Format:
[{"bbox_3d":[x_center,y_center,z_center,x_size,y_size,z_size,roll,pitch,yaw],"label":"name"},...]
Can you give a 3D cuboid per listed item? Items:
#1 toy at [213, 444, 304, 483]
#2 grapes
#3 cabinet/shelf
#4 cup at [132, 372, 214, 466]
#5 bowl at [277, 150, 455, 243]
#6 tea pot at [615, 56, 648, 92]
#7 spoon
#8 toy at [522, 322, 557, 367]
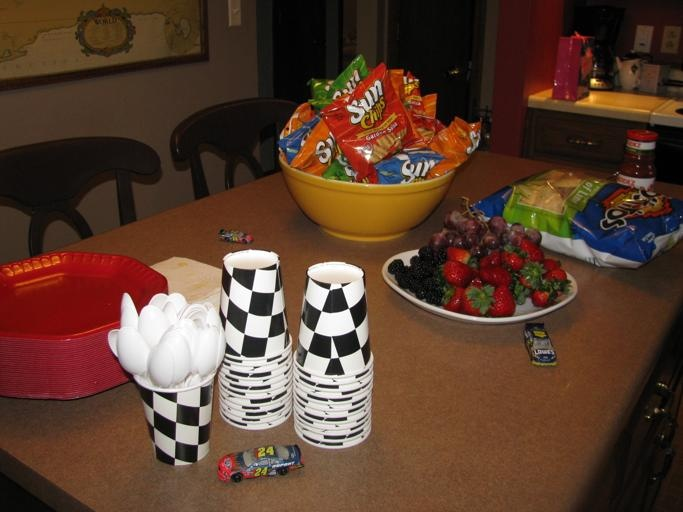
[{"bbox_3d":[-0.118,0.293,0.743,0.107,0.032,0.055,-2,55,-12],"label":"toy"},{"bbox_3d":[0.322,-0.067,1.117,0.135,0.088,0.201,-4,13,-24],"label":"grapes"},{"bbox_3d":[1.190,-0.570,2.519,0.400,0.455,0.288,15,17,24],"label":"cabinet/shelf"},{"bbox_3d":[-0.215,0.226,0.756,0.111,0.135,0.127,1,29,-3],"label":"cup"},{"bbox_3d":[0.087,-0.190,1.427,0.404,0.195,0.441,5,27,-2],"label":"bowl"},{"bbox_3d":[1.693,-1.056,3.034,0.106,0.222,0.176,-8,13,6],"label":"tea pot"},{"bbox_3d":[-0.224,0.104,0.699,0.110,0.096,0.146,15,6,16],"label":"spoon"},{"bbox_3d":[0.375,0.158,0.974,0.037,0.028,0.076,-4,43,1],"label":"toy"}]
